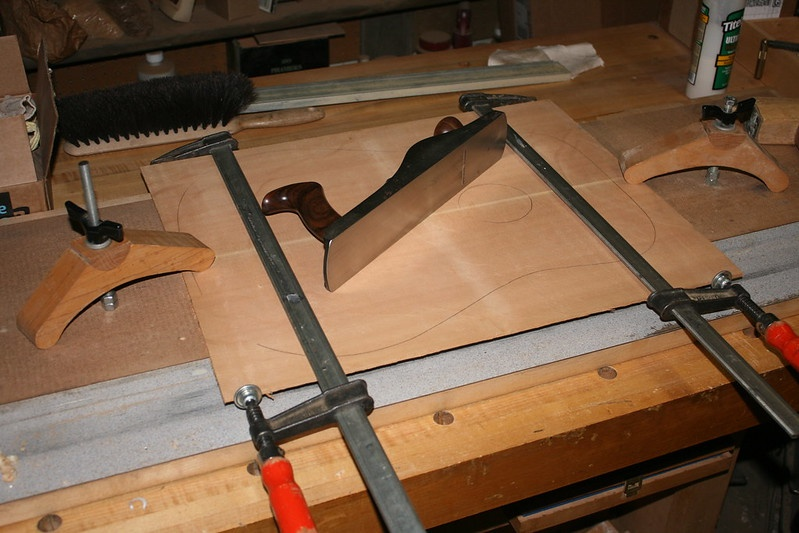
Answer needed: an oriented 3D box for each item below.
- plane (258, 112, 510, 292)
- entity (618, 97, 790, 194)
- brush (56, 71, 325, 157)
[{"bbox_3d":[-0.014,-0.201,1.277,0.518,0.223,0.115,-36,-31,-22],"label":"plane"},{"bbox_3d":[0.710,-0.273,1.391,0.381,0.091,0.158,1,-54,0],"label":"entity"},{"bbox_3d":[-0.422,-0.412,1.598,0.823,0.176,0.175,-11,-46,-15],"label":"brush"}]
